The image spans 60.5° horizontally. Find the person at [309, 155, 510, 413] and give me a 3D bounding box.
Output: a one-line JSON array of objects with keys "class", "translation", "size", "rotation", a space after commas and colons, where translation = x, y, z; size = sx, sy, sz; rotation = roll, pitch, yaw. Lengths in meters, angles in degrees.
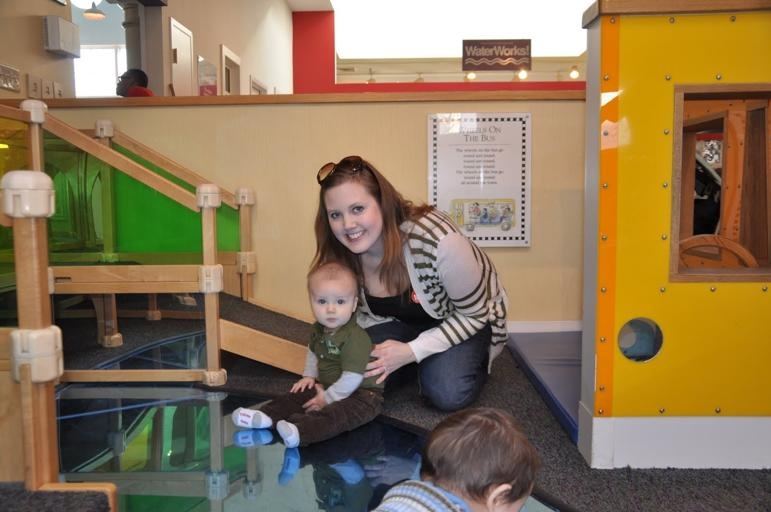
[{"class": "person", "translation": [0.062, 0.109, 2.799], "size": [0.868, 0.994, 0.790], "rotation": [-5, 12, 3]}]

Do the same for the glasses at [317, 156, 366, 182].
[{"class": "glasses", "translation": [-0.176, -0.334, 2.576], "size": [0.190, 0.106, 0.099], "rotation": [-1, 4, -3]}]
